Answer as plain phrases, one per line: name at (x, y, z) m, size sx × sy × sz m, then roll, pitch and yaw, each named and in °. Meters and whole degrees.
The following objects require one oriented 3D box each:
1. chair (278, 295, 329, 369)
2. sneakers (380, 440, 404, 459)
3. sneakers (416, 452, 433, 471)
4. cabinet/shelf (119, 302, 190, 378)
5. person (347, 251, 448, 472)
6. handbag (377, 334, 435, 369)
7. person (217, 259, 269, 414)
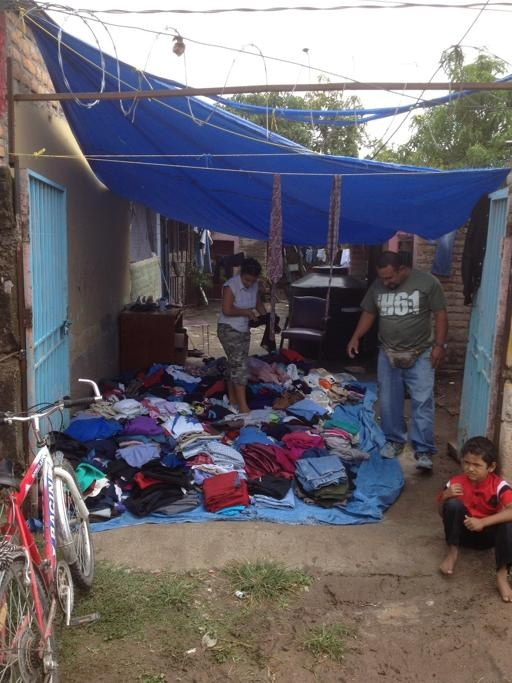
chair at (0.767, -0.243, 9.086) m, size 0.836 × 1.278 × 0.995 m, roll 6°, pitch 7°, yaw 13°
sneakers at (1.204, 0.963, 5.253) m, size 0.274 × 0.111 × 0.105 m, roll 3°, pitch 2°, yaw -29°
sneakers at (1.393, 1.005, 4.918) m, size 0.088 × 0.096 × 0.234 m, roll -1°, pitch -17°, yaw 11°
cabinet/shelf at (-1.402, -0.001, 8.251) m, size 0.798 × 0.871 × 1.401 m, roll 0°, pitch 5°, yaw -1°
person at (1.208, 0.147, 5.006) m, size 0.793 × 1.780 × 0.519 m, roll 9°, pitch 15°, yaw 25°
handbag at (1.219, 0.112, 4.883) m, size 0.252 × 0.280 × 0.110 m, roll -2°, pitch 45°, yaw 7°
person at (-0.189, -0.059, 6.020) m, size 0.418 × 1.549 × 0.555 m, roll 2°, pitch 13°, yaw -2°
